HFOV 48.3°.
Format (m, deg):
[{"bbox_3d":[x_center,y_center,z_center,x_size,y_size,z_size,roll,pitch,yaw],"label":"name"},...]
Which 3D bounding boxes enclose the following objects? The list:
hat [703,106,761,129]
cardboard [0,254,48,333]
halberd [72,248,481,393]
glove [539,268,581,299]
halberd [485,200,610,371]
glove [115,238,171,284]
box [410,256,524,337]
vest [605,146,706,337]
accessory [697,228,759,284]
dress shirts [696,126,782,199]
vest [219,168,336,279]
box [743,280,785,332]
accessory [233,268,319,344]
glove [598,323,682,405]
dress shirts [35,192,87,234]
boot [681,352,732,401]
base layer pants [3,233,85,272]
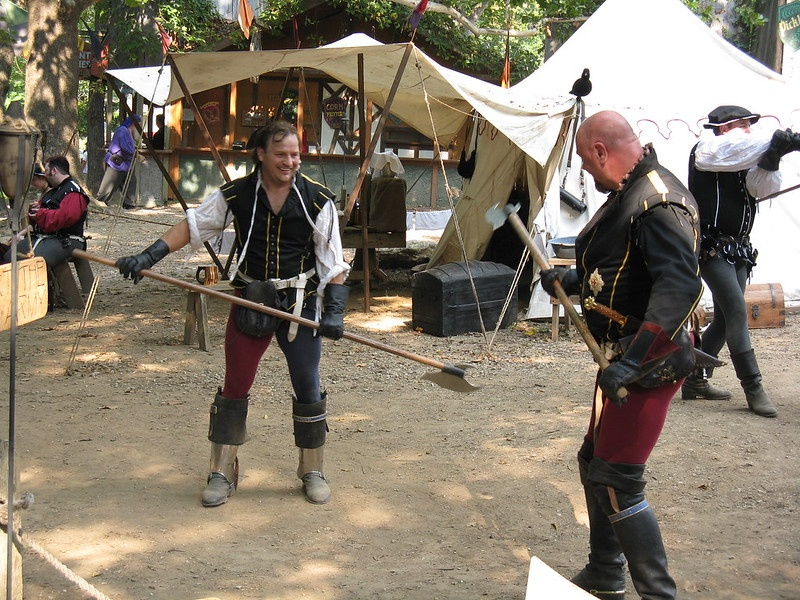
[{"bbox_3d":[2.504,-1.401,6.726,0.323,0.091,0.234,-3,1,18],"label":"hat"},{"bbox_3d":[-1.747,-0.037,4.155,0.121,0.310,0.367,3,8,-3],"label":"cardboard"},{"bbox_3d":[-1.063,0.214,7.568,3.856,0.148,0.574,15,-32,6],"label":"halberd"},{"bbox_3d":[0.873,-0.106,4.894,0.214,0.069,0.137,-3,46,7],"label":"glove"},{"bbox_3d":[0.815,-0.113,4.943,0.438,1.189,0.104,-24,-29,-8],"label":"halberd"},{"bbox_3d":[-1.458,-0.229,5.165,0.212,0.149,0.335,-18,19,43],"label":"glove"},{"bbox_3d":[0.721,-0.020,9.609,0.987,0.552,0.552,3,-13,-42],"label":"box"},{"bbox_3d":[1.253,-0.283,4.287,0.359,0.860,0.400,2,9,-6],"label":"vest"},{"bbox_3d":[2.497,-0.354,6.744,0.520,0.332,0.195,-2,10,-34],"label":"accessory"},{"bbox_3d":[2.565,-1.013,6.598,0.622,0.279,0.501,-4,18,-35],"label":"dress shirts"},{"bbox_3d":[-0.773,-0.448,5.370,0.779,0.612,0.387,2,16,-13],"label":"vest"},{"bbox_3d":[3.963,0.043,9.738,0.565,0.448,0.434,-3,7,41],"label":"box"},{"bbox_3d":[-0.672,0.019,5.297,0.431,0.329,0.470,9,5,38],"label":"accessory"},{"bbox_3d":[1.094,0.281,4.217,0.401,0.133,0.347,-29,-31,9],"label":"glove"},{"bbox_3d":[-3.417,-0.895,9.055,0.506,0.435,0.262,0,9,-22],"label":"dress shirts"},{"bbox_3d":[2.398,0.618,7.108,0.430,0.356,0.183,2,-12,0],"label":"boot"},{"bbox_3d":[-2.747,-0.394,6.978,0.719,0.219,0.658,-1,1,-17],"label":"base layer pants"}]
